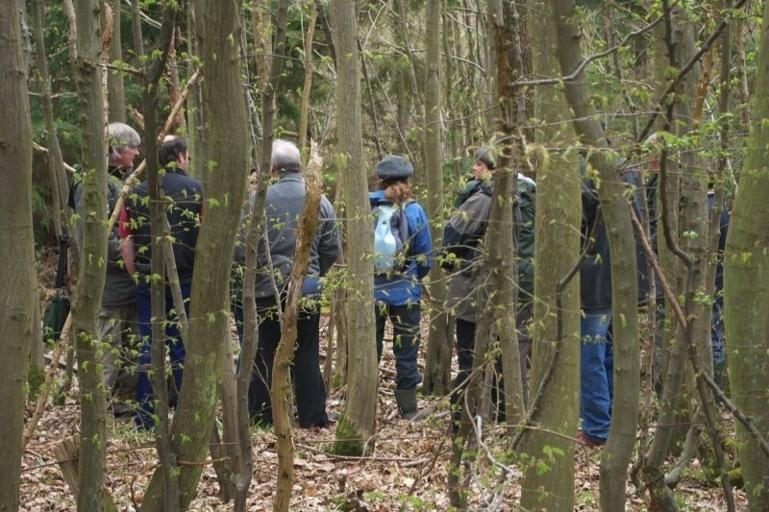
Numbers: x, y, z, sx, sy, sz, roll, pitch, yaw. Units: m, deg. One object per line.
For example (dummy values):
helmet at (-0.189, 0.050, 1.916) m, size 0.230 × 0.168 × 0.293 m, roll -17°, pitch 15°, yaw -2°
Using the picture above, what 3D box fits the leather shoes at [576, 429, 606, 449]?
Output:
leather shoes at (1.859, 1.666, 12.397) m, size 0.309 × 0.158 × 0.243 m, roll 1°, pitch 1°, yaw -4°

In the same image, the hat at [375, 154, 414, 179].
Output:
hat at (0.159, -0.821, 12.792) m, size 0.366 × 0.242 × 0.565 m, roll 1°, pitch 2°, yaw -27°

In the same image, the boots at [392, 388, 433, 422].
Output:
boots at (0.265, 1.410, 12.929) m, size 0.353 × 0.413 × 0.203 m, roll -8°, pitch 5°, yaw -3°

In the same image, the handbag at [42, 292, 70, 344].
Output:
handbag at (-3.092, 0.610, 12.898) m, size 0.227 × 0.487 × 1.555 m, roll 1°, pitch 2°, yaw -14°

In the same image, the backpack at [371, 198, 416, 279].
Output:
backpack at (0.055, -0.161, 12.914) m, size 0.330 × 0.650 × 0.378 m, roll -10°, pitch 19°, yaw -44°

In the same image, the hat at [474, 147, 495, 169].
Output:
hat at (0.873, -0.835, 11.734) m, size 0.154 × 0.228 × 0.214 m, roll 1°, pitch 2°, yaw 9°

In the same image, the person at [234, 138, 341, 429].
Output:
person at (-0.911, 0.247, 12.710) m, size 0.792 × 2.709 × 0.800 m, roll 1°, pitch 15°, yaw -5°
